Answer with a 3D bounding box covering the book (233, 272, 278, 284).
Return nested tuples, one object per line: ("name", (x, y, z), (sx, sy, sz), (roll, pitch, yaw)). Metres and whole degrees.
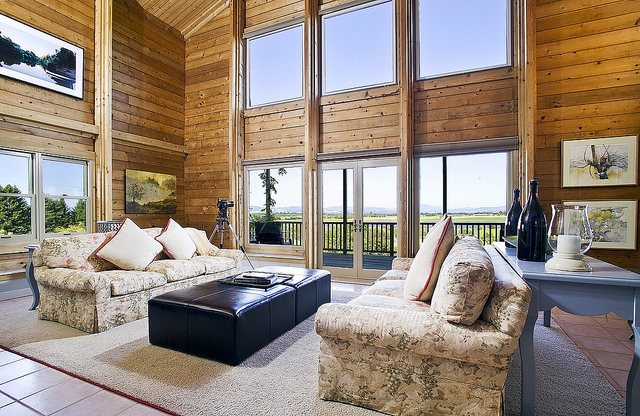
("book", (-0.868, 0.927, 5.416), (0.546, 0.091, 0.311), (-2, -1, 13))
